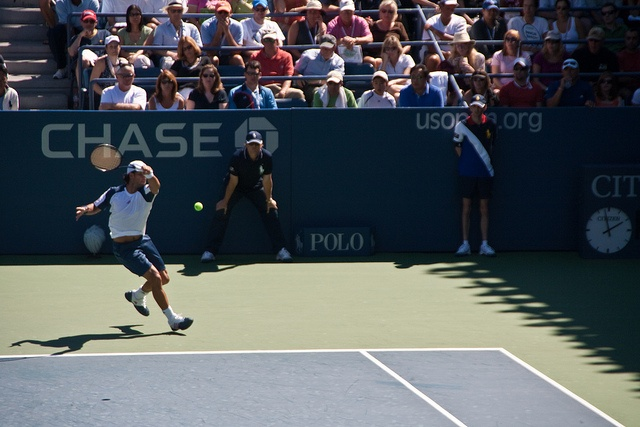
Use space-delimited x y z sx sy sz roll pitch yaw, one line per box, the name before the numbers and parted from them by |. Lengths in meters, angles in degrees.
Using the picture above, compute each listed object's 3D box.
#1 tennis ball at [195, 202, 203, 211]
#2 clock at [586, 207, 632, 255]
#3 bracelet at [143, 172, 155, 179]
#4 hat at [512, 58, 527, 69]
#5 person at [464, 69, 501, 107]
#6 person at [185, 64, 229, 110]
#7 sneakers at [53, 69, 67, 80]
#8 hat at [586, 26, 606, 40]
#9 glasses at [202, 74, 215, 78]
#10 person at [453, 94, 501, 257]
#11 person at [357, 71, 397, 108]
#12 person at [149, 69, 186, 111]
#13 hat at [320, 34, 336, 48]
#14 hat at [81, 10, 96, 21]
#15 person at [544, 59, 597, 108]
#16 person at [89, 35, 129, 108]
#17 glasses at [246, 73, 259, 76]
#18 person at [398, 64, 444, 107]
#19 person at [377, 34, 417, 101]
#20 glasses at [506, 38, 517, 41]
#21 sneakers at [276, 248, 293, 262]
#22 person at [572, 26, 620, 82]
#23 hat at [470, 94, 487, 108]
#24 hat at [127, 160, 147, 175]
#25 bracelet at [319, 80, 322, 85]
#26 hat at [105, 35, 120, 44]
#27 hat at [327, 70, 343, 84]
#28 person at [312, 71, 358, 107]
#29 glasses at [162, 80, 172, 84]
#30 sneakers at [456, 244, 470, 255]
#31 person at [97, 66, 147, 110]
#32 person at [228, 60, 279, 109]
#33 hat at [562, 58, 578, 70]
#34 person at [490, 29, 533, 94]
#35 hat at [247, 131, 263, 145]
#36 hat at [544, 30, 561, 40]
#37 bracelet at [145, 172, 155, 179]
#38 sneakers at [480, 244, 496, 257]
tennis ball | -2.313 -0.139 14.784 0.160 0.115 0.185 9 40 1
clock | 5.797 0.356 15.680 0.740 0.918 0.059 -1 -1 -4
bracelet | -2.617 -0.577 11.930 0.129 0.100 0.274 -2 6 -6
hat | 4.206 -3.109 16.328 0.293 0.215 0.551 1 6 14
person | 3.404 -2.580 16.240 0.735 1.160 0.592 1 -1 24
person | -2.314 -2.532 15.919 0.838 0.866 0.331 -2 6 -10
sneakers | -6.119 -3.249 18.413 0.376 0.188 0.150 -12 37 -18
hat | 6.088 -3.900 17.182 0.313 0.284 0.293 1 6 19
glasses | -2.272 -2.756 15.814 0.228 0.086 0.099 -2 6 -11
person | 3.103 -0.740 15.653 0.841 3.134 0.568 0 6 11
person | 1.251 -2.588 16.606 0.722 1.347 0.460 2 6 0
person | -3.148 -2.506 16.183 0.791 1.400 0.502 0 12 -13
hat | 0.180 -3.714 17.135 0.350 0.285 0.331 -2 6 -8
hat | -5.263 -4.413 17.679 0.361 0.250 0.555 0 9 -16
person | 5.237 -2.672 16.329 1.002 0.949 0.498 1 6 21
person | -4.438 -2.864 16.752 0.971 1.704 1.054 1 20 -23
glasses | -1.373 -2.781 15.770 0.267 0.082 0.163 -2 6 -6
person | 2.095 -2.504 16.201 0.919 1.185 0.566 4 20 17
person | 1.662 -2.988 17.180 0.734 1.742 0.861 -7 6 6
glasses | 4.216 -3.765 17.068 0.228 0.049 0.033 1 6 20
sneakers | -0.702 0.804 15.477 0.169 0.234 0.338 1 2 -43
person | 6.105 -3.429 17.266 1.224 1.489 0.800 1 -9 7
hat | 3.127 -2.183 15.407 0.270 0.250 0.387 1 6 21
hat | -2.797 -0.713 11.877 0.220 0.208 0.222 14 11 19
bracelet | 0.010 -2.817 17.097 0.068 0.077 0.017 4 -1 31
hat | -4.488 -3.672 16.774 0.282 0.233 0.538 -3 6 -18
hat | 0.301 -2.775 16.172 0.344 0.278 0.572 -1 6 1
person | 0.331 -2.435 16.293 0.911 0.969 0.595 2 24 -2
glasses | -3.108 -2.628 15.797 0.200 0.083 0.078 -2 6 -13
sneakers | 2.887 0.713 15.739 0.354 0.198 0.130 -4 4 -43
person | -4.055 -2.510 16.117 0.832 1.163 0.554 0 -5 -28
person | -1.379 -2.511 16.044 1.054 1.227 0.616 1 11 -9
hat | 5.230 -3.065 16.267 0.299 0.214 0.391 1 6 17
person | 4.205 -3.238 17.164 0.823 1.540 0.923 4 9 12
hat | -1.242 -1.389 14.645 0.270 0.221 0.250 -3 6 -17
hat | 5.142 -3.855 17.174 0.333 0.198 0.286 1 6 17
bracelet | -2.610 -0.577 11.866 0.097 0.075 0.080 3 -17 37
sneakers | 3.367 0.725 15.692 0.281 0.235 0.183 -1 13 14
